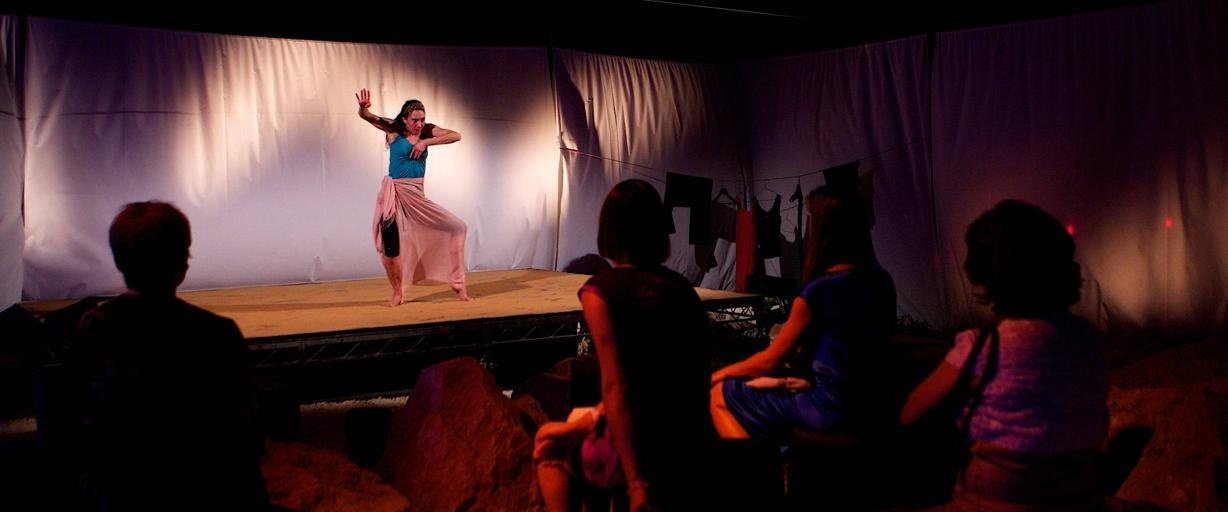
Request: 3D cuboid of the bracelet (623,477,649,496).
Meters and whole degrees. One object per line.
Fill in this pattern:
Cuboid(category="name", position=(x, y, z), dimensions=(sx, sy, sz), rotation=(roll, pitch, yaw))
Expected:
Cuboid(category="bracelet", position=(0.270, 2.395, 7.101), dimensions=(0.239, 0.175, 0.209), rotation=(1, 2, 16))

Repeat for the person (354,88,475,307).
Cuboid(category="person", position=(-2.921, -0.855, 9.819), dimensions=(1.387, 3.039, 0.473), rotation=(-3, 6, -14))
